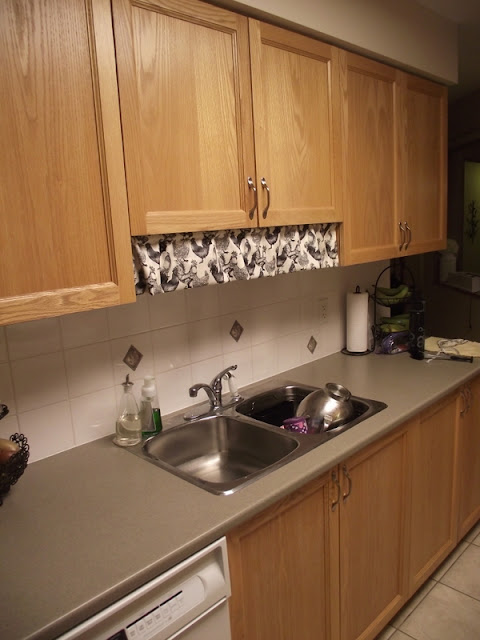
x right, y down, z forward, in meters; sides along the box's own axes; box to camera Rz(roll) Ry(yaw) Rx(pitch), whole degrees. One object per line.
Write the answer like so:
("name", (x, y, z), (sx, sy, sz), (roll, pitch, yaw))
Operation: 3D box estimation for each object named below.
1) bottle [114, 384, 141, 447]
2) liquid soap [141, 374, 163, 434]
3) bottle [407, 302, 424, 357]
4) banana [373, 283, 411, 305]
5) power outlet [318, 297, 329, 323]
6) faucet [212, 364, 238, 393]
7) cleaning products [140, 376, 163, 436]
("bottle", (-0.356, 0.278, 1.490), (0.087, 0.197, 0.130), (-6, 9, -18))
("liquid soap", (-0.281, 0.273, 1.506), (0.068, 0.183, 0.066), (-6, 14, -22))
("bottle", (0.816, 0.061, 2.244), (0.064, 0.220, 0.136), (0, 9, 19))
("banana", (0.763, -0.129, 2.436), (0.107, 0.075, 0.129), (-2, 12, 12))
("power outlet", (0.402, -0.054, 2.327), (0.022, 0.097, 0.098), (2, 5, 24))
("faucet", (-0.051, 0.210, 1.761), (0.046, 0.096, 0.156), (3, 12, 29))
("cleaning products", (-0.284, 0.267, 1.504), (0.066, 0.181, 0.071), (7, 19, 21))
